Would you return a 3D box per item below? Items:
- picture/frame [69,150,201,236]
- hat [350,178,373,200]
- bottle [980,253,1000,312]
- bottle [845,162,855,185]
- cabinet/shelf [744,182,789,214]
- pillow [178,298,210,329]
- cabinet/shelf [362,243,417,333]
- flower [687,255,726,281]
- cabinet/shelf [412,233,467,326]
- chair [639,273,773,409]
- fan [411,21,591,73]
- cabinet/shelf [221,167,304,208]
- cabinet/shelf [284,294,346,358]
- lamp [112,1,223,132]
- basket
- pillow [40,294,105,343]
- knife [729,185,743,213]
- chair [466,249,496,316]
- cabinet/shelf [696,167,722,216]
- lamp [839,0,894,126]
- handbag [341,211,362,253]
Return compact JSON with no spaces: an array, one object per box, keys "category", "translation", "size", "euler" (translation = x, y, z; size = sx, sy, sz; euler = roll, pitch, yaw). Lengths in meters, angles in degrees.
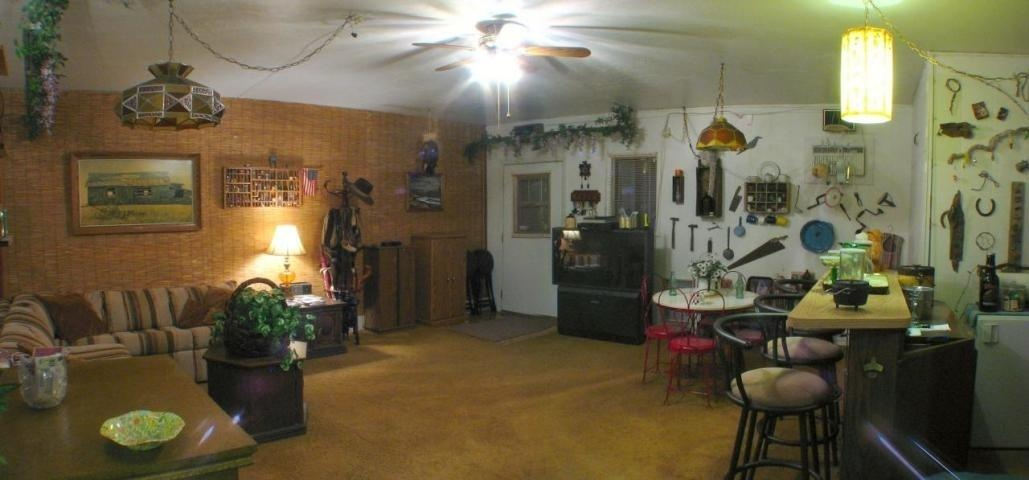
[{"category":"picture/frame","translation":[-6.283,-0.766,10.892],"size":[1.888,0.993,0.071],"euler":[-2,1,-27]},{"category":"hat","translation":[-2.809,-0.988,12.580],"size":[0.218,0.376,0.415],"euler":[2,5,40]},{"category":"bottle","translation":[6.463,0.570,9.102],"size":[0.219,0.756,0.387],"euler":[2,6,42]},{"category":"bottle","translation":[5.624,-1.133,11.300],"size":[0.202,0.354,0.090],"euler":[0,5,19]},{"category":"cabinet/shelf","translation":[4.352,-0.722,11.563],"size":[0.714,0.403,0.209],"euler":[2,-1,21]},{"category":"pillow","translation":[-5.167,1.190,10.776],"size":[0.520,0.371,0.131],"euler":[6,-12,-6]},{"category":"cabinet/shelf","translation":[-2.360,0.860,12.533],"size":[0.958,1.630,0.373],"euler":[-3,5,-10]},{"category":"flower","translation":[3.182,0.456,10.961],"size":[0.532,0.245,0.511],"euler":[0,-1,26]},{"category":"cabinet/shelf","translation":[-1.438,0.743,12.911],"size":[0.978,1.685,0.415],"euler":[-2,5,-6]},{"category":"chair","translation":[2.856,1.474,10.640],"size":[2.114,1.246,1.974],"euler":[0,-2,-2]},{"category":"fan","translation":[-0.196,-2.828,9.830],"size":[1.450,0.260,1.201],"euler":[-2,3,-31]},{"category":"cabinet/shelf","translation":[-4.373,-0.900,11.759],"size":[1.595,0.676,0.224],"euler":[2,4,18]},{"category":"cabinet/shelf","translation":[-3.736,1.556,11.610],"size":[1.237,0.854,0.918],"euler":[-4,-3,30]},{"category":"lamp","translation":[-4.008,-1.948,8.493],"size":[1.402,1.399,1.188],"euler":[-1,-1,-4]},{"category":"basket","translation":[-3.449,1.070,9.177],"size":[1.109,0.933,1.104],"euler":[3,-1,-34]},{"category":"pillow","translation":[-6.762,1.177,10.167],"size":[0.872,0.673,0.498],"euler":[-2,4,-9]},{"category":"knife","translation":[3.932,-0.730,11.885],"size":[0.224,0.442,0.035],"euler":[-1,5,12]},{"category":"chair","translation":[-0.714,0.848,13.677],"size":[0.397,1.272,0.586],"euler":[2,6,41]},{"category":"cabinet/shelf","translation":[3.493,-0.871,11.985],"size":[0.458,0.934,0.110],"euler":[-1,5,7]},{"category":"lamp","translation":[4.145,-1.939,7.878],"size":[0.541,1.084,0.287],"euler":[0,5,17]},{"category":"handbag","translation":[-2.962,-0.164,12.292],"size":[0.184,0.766,0.386],"euler":[1,5,31]}]
